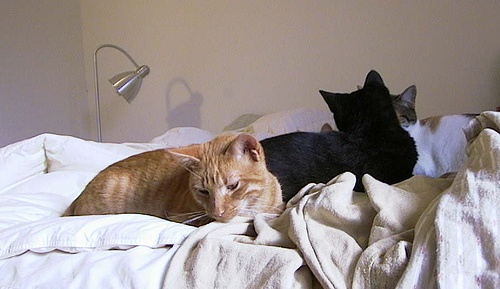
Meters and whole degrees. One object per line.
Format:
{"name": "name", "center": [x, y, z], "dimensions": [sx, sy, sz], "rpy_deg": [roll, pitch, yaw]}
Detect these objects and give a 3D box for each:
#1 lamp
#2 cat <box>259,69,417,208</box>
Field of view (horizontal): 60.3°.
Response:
{"name": "lamp", "center": [-1.120, -0.465, 3.782], "dimensions": [0.516, 0.918, 1.064], "rpy_deg": [-9, 11, -20]}
{"name": "cat", "center": [0.583, -0.028, 2.336], "dimensions": [1.233, 0.640, 0.404], "rpy_deg": [-18, 13, -31]}
